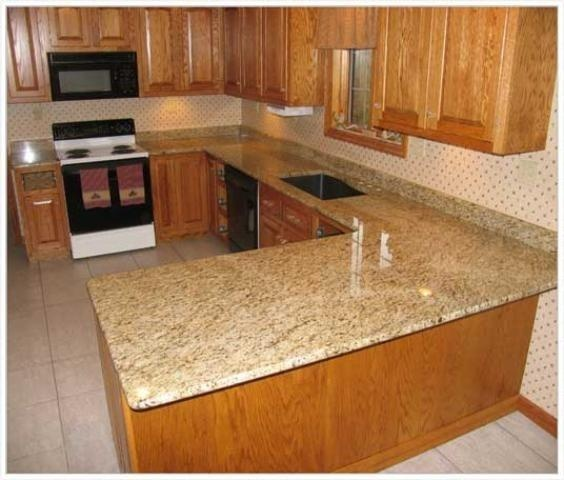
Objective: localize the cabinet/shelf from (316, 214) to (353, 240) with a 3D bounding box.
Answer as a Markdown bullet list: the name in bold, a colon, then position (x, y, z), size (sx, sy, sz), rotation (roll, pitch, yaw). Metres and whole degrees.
- **cabinet/shelf**: position (0.358, -0.135, 2.967), size (0.136, 0.187, 0.249), rotation (-4, 22, -19)

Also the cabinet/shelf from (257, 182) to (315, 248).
- **cabinet/shelf**: position (0.041, -0.209, 3.461), size (0.148, 0.392, 0.392), rotation (-9, 30, -24)
